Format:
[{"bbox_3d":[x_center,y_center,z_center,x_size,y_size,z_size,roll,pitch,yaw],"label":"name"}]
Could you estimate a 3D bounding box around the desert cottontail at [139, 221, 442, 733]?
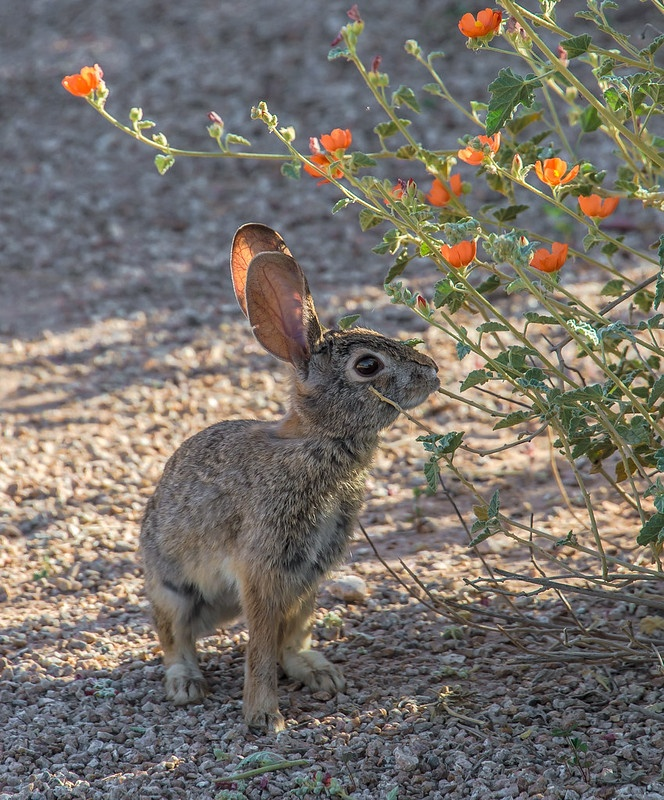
[{"bbox_3d":[-0.228,0.316,3.336,1.166,1.718,0.603,-16,-1,33],"label":"desert cottontail"}]
